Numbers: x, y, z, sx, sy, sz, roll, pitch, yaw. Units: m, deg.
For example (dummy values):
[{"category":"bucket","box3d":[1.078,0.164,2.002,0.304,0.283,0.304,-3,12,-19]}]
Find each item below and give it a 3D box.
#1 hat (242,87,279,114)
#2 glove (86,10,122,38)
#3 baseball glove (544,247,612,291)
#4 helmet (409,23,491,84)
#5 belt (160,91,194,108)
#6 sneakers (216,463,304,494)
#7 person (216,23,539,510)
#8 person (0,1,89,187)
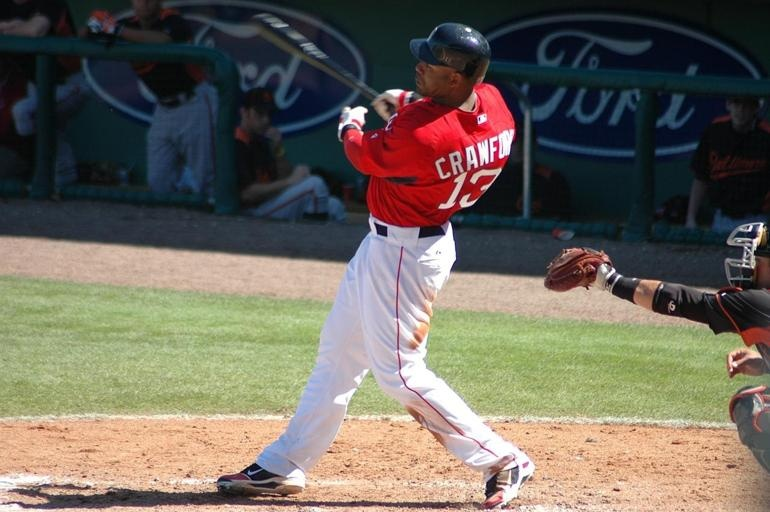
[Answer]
[{"category":"hat","box3d":[-0.770,-0.964,9.750,0.206,0.139,0.141,20,-7,-43]},{"category":"glove","box3d":[-1.697,-1.404,9.552,0.198,0.159,0.095,5,4,-12]},{"category":"baseball glove","box3d":[0.999,0.070,8.503,0.342,0.131,0.230,-16,5,-23]},{"category":"helmet","box3d":[0.376,-1.094,8.261,0.410,0.172,0.268,24,32,0]},{"category":"belt","box3d":[-1.270,-0.948,9.596,0.102,0.045,0.146,-7,-8,41]},{"category":"sneakers","box3d":[-0.662,1.219,8.487,0.536,0.212,0.165,5,-20,-3]},{"category":"person","box3d":[0.116,0.056,8.397,1.488,2.588,0.380,6,4,-5]},{"category":"person","box3d":[-2.093,-1.003,9.603,0.589,1.134,0.136,6,4,-8]}]
